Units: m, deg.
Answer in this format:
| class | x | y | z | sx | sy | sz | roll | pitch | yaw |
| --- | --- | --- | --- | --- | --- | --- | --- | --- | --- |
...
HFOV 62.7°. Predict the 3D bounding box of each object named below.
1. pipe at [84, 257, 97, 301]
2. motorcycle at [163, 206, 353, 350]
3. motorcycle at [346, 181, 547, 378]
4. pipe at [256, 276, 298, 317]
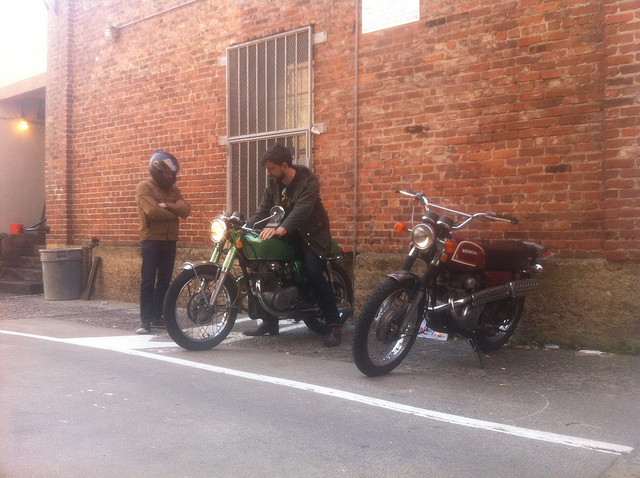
| class | x | y | z | sx | sy | sz | roll | pitch | yaw |
| --- | --- | --- | --- | --- | --- | --- | --- | --- | --- |
| pipe | -4.511 | 0.766 | 10.285 | 0.195 | 0.790 | 0.563 | 0 | 4 | -8 |
| motorcycle | -0.574 | 0.438 | 6.502 | 2.682 | 1.723 | 1.161 | -1 | 1 | -38 |
| motorcycle | 1.493 | 0.368 | 6.268 | 2.826 | 1.804 | 1.429 | -4 | 14 | -38 |
| pipe | -0.556 | 0.669 | 6.270 | 0.513 | 0.506 | 0.369 | -3 | 9 | -36 |
